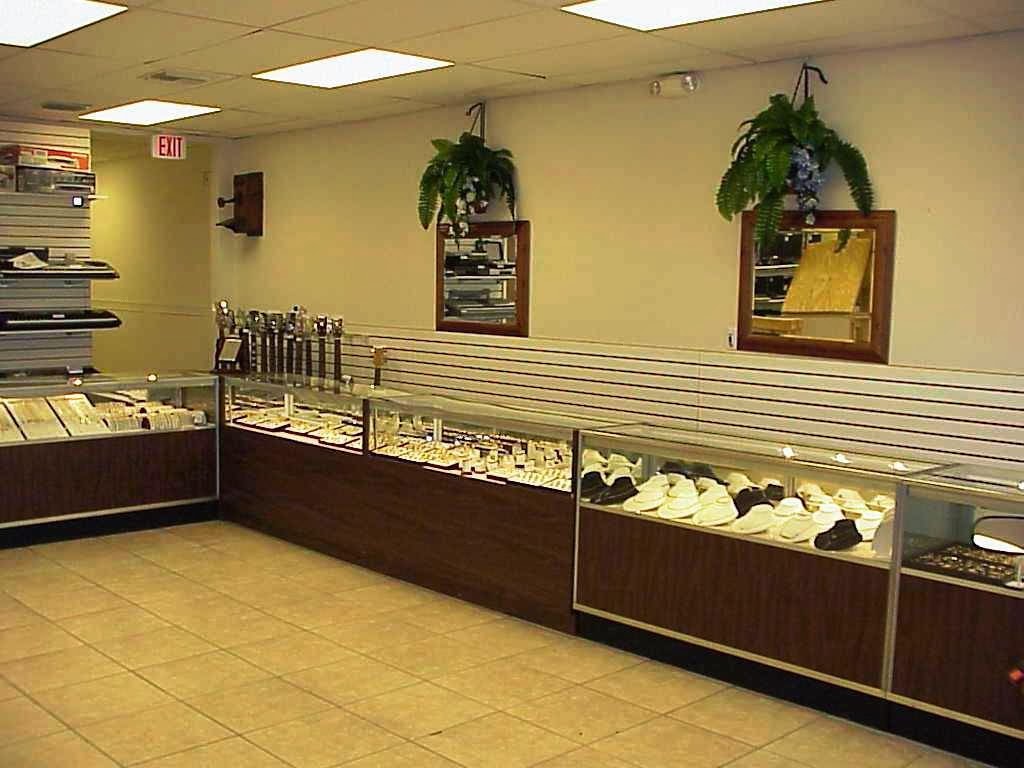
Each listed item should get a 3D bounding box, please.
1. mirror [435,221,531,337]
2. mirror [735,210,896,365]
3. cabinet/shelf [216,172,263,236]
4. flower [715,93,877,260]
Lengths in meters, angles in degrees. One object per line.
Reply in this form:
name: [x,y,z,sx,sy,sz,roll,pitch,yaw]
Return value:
mirror: [-0.128,-1.019,7.176,0.475,1.081,1.338,-6,10,-40]
mirror: [2.057,-0.691,5.109,0.103,0.968,1.210,-4,9,-26]
cabinet/shelf: [-3.341,-2.252,9.243,0.576,0.722,0.931,-3,7,-34]
flower: [1.836,-1.420,4.841,0.911,1.057,0.643,6,7,32]
